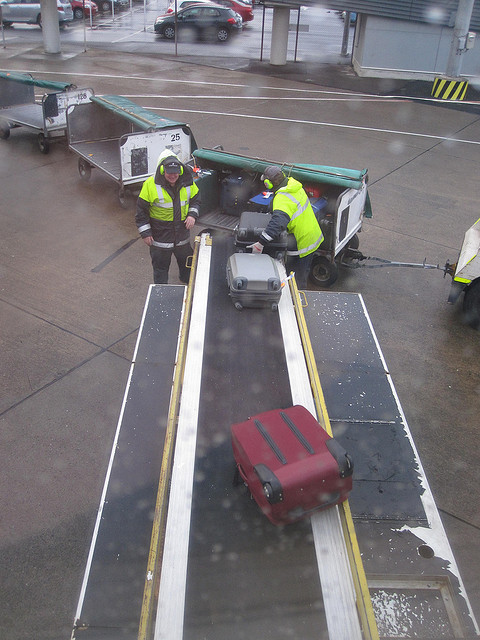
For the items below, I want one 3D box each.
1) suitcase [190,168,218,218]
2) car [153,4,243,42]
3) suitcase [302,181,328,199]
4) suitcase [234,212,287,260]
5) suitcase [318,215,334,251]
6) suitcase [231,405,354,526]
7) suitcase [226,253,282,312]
[{"bbox_3d":[-0.596,-2.213,8.607,0.218,0.666,0.704,14,32,15],"label":"suitcase"},{"bbox_3d":[-2.392,-17.116,28.391,4.838,1.908,2.266,0,31,-9],"label":"car"},{"bbox_3d":[1.183,-2.104,7.882,0.356,0.228,0.217,-10,34,-24],"label":"suitcase"},{"bbox_3d":[0.205,-0.943,5.314,0.500,0.327,0.668,3,41,-2],"label":"suitcase"},{"bbox_3d":[1.232,-1.249,7.124,0.198,0.371,0.366,-7,41,-5],"label":"suitcase"},{"bbox_3d":[0.265,0.790,2.825,0.583,0.355,0.685,-9,30,-7],"label":"suitcase"},{"bbox_3d":[0.148,-0.438,4.674,0.527,0.349,0.738,-1,41,-2],"label":"suitcase"}]
